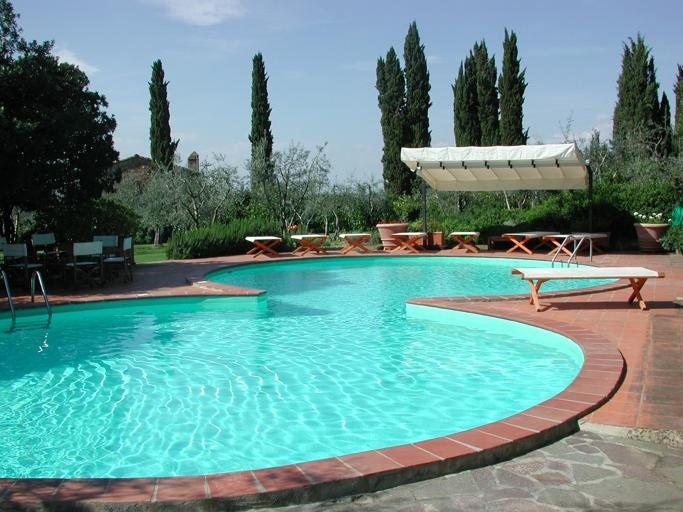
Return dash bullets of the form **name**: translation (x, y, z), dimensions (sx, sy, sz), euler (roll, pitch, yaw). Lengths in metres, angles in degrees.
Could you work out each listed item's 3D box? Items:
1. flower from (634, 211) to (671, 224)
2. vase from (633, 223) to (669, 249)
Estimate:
- **flower**: translation (11.392, -1.391, 17.159), dimensions (1.127, 0.388, 0.929), euler (4, 9, 29)
- **vase**: translation (10.662, -0.645, 16.165), dimensions (0.982, 0.642, 0.950), euler (0, 1, -43)
